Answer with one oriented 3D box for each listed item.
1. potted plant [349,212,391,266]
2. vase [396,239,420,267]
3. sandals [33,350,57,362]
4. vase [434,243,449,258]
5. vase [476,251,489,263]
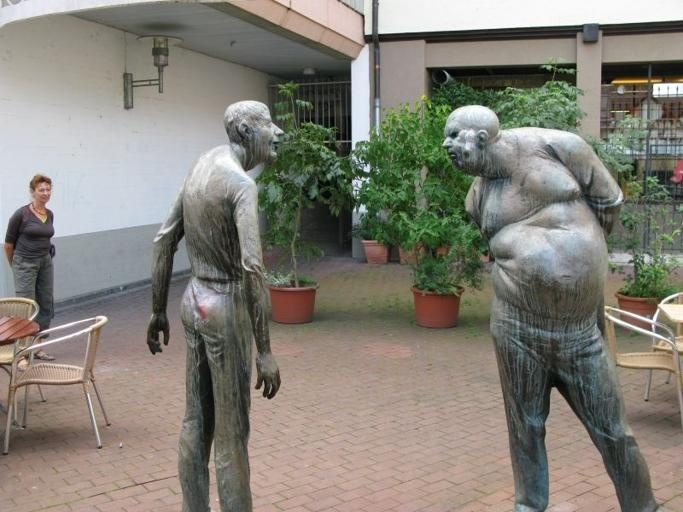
[{"bbox_3d":[0.537,-0.445,14.988,1.198,1.459,1.050,0,-1,5],"label":"potted plant"},{"bbox_3d":[1.292,-0.053,12.809,0.455,0.371,0.463,0,-2,-12],"label":"vase"},{"bbox_3d":[-3.558,1.191,8.015,0.241,0.108,0.093,2,13,-9],"label":"sandals"},{"bbox_3d":[1.766,-0.081,11.674,0.250,0.210,0.270,1,-5,-17],"label":"vase"},{"bbox_3d":[1.573,-0.005,7.416,0.173,0.172,0.136,-1,7,1],"label":"vase"}]
